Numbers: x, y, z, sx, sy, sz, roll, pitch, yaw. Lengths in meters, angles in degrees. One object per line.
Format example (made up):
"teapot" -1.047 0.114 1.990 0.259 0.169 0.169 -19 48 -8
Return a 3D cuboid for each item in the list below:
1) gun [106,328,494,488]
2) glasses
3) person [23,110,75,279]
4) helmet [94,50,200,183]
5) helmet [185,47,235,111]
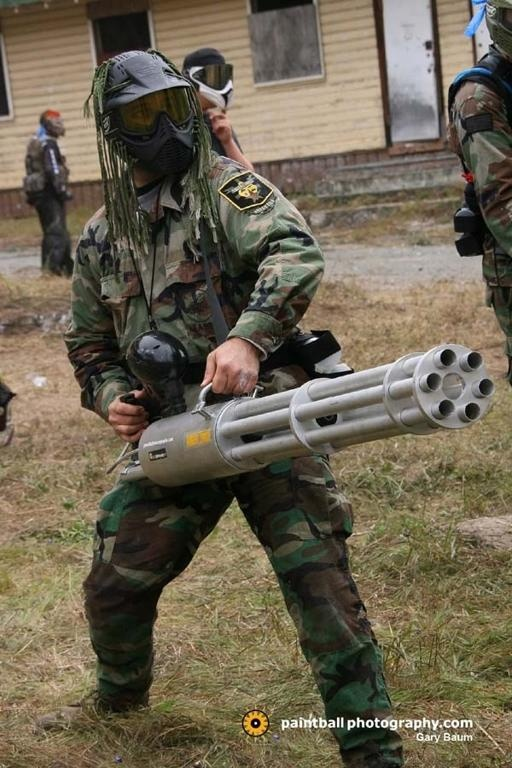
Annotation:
"gun" 0.009 0.042 1.649 0.215 0.261 0.915 10 -17 -41
"glasses" -0.262 -0.690 2.084 0.165 0.098 0.193 -19 5 -17
"person" -2.390 -2.237 9.121 0.562 2.025 1.015 -11 9 -10
"helmet" -0.297 -0.773 2.190 0.268 0.280 0.320 -23 25 -22
"helmet" -0.257 -1.713 4.357 0.276 0.278 0.316 -16 31 -37
